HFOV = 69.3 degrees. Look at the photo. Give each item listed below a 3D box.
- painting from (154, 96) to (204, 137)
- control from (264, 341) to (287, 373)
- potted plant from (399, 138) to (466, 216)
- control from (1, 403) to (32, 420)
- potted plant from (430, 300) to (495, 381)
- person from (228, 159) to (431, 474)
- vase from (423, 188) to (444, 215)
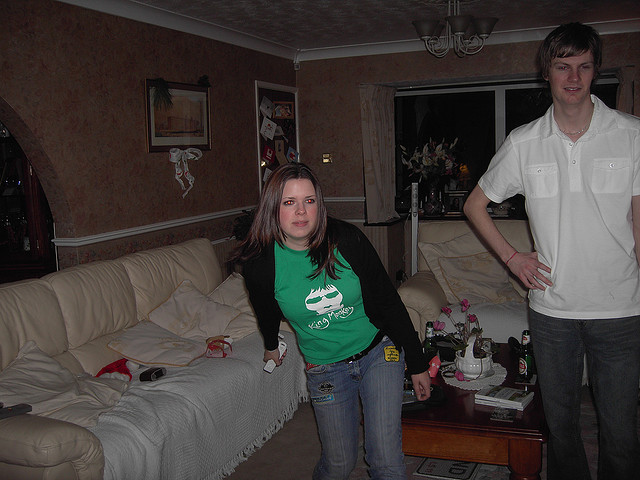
[{"bbox_3d":[-1.343,-1.174,4.461,0.028,0.490,0.785,13,16,18],"label":"painting"},{"bbox_3d":[-0.195,0.515,2.007,0.110,0.124,0.074,-7,11,-26],"label":"control"},{"bbox_3d":[1.559,-0.771,6.328,0.783,0.983,0.900,5,-11,7],"label":"potted plant"},{"bbox_3d":[-1.407,0.798,2.144,0.099,0.024,0.101,0,-3,44],"label":"control"},{"bbox_3d":[0.988,0.644,2.901,0.304,0.450,0.313,3,-19,3],"label":"potted plant"},{"bbox_3d":[0.045,0.342,1.888,0.717,1.300,0.410,5,13,35],"label":"person"},{"bbox_3d":[1.521,-0.518,6.234,0.309,0.496,0.302,2,17,18],"label":"vase"}]
